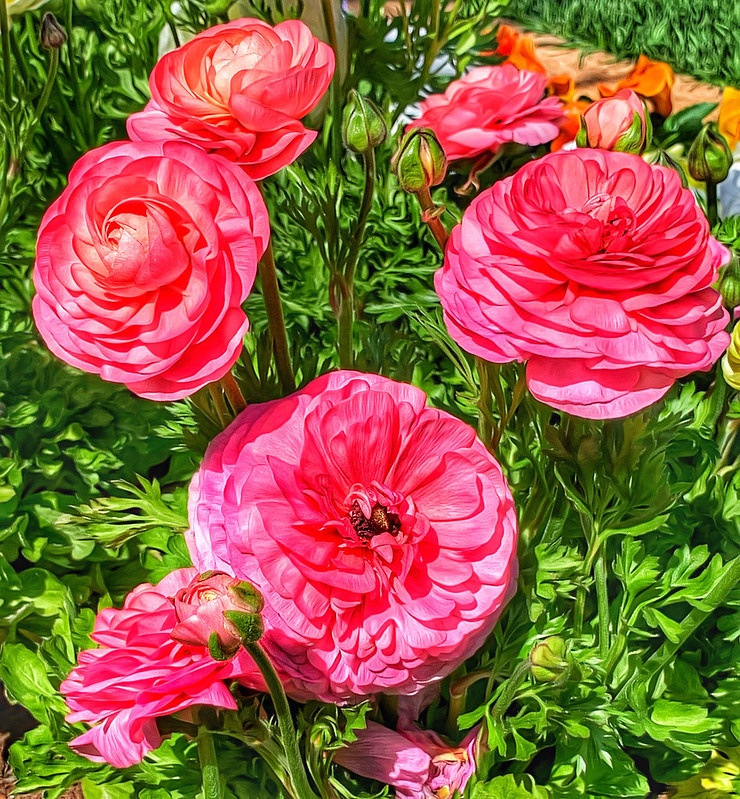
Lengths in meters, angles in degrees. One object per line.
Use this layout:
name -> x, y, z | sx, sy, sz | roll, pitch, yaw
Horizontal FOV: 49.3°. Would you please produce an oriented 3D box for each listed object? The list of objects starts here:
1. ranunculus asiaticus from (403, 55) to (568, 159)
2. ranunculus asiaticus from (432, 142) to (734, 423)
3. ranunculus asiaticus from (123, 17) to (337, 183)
ranunculus asiaticus -> 0.099, -0.251, 0.731 | 0.118, 0.121, 0.054 | 19, 103, 43
ranunculus asiaticus -> 0.114, -0.055, 0.424 | 0.122, 0.128, 0.068 | 20, 87, -30
ranunculus asiaticus -> -0.078, -0.146, 0.461 | 0.094, 0.042, 0.101 | -22, 67, -10
